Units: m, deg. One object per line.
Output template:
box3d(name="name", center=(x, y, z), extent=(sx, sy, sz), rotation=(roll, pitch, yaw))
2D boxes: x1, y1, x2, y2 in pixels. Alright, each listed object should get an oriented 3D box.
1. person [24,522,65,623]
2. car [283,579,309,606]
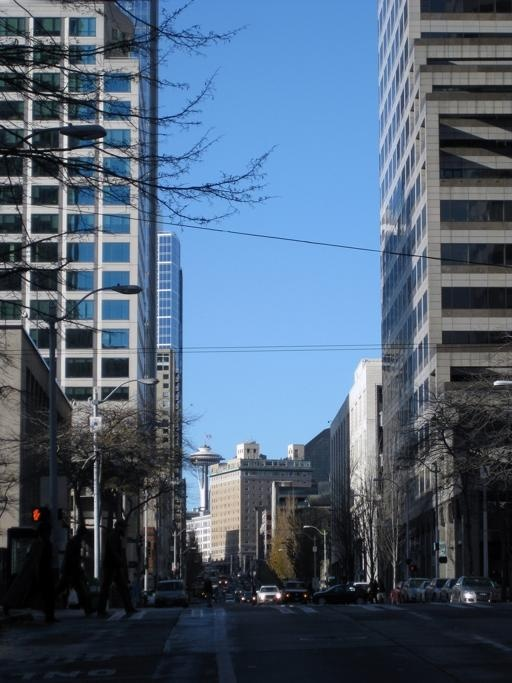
box3d(name="person", center=(-3.394, 3.622, 23.766), extent=(0.368, 1.674, 1.095), rotation=(-1, -14, -6))
box3d(name="car", center=(1.655, 10.995, 66.044), extent=(0.688, 0.836, 1.671), rotation=(0, -21, -3))
